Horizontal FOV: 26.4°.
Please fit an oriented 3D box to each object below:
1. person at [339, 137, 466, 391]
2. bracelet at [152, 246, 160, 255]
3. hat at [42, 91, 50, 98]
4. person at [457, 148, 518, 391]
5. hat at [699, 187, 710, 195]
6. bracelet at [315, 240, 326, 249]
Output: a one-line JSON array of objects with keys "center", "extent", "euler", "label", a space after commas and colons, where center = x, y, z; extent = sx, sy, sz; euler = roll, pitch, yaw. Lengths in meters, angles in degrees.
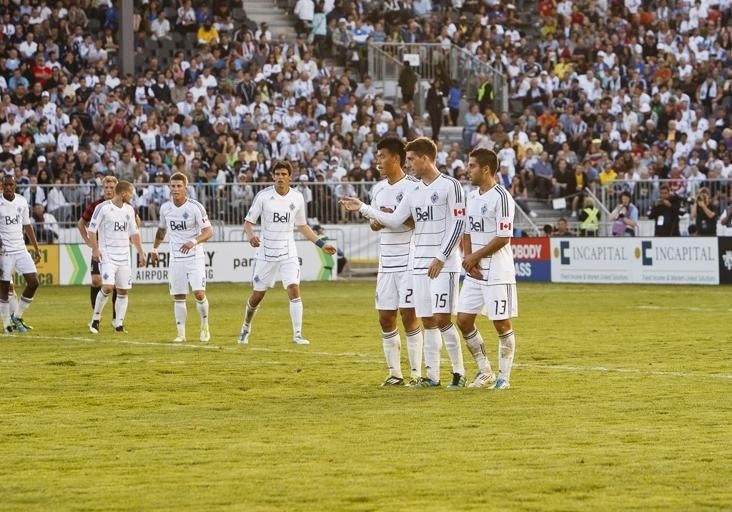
[{"center": [1.082, 0.169, 26.693], "extent": [1.249, 4.245, 0.476], "euler": [-1, 0, 0], "label": "person"}, {"center": [-5.171, -0.086, 38.431], "extent": [0.196, 0.209, 0.209], "euler": [-4, -10, 23], "label": "bracelet"}, {"center": [-8.837, -4.390, 43.056], "extent": [0.158, 0.125, 0.227], "euler": [1, 2, -5], "label": "hat"}, {"center": [2.091, 0.242, 26.706], "extent": [0.976, 4.104, 0.512], "euler": [0, 0, 5], "label": "person"}, {"center": [8.992, -1.671, 41.176], "extent": [0.279, 0.177, 0.362], "euler": [0, 0, 12], "label": "hat"}, {"center": [-0.847, -0.191, 29.646], "extent": [0.045, 0.172, 0.182], "euler": [-4, 26, -27], "label": "bracelet"}]
